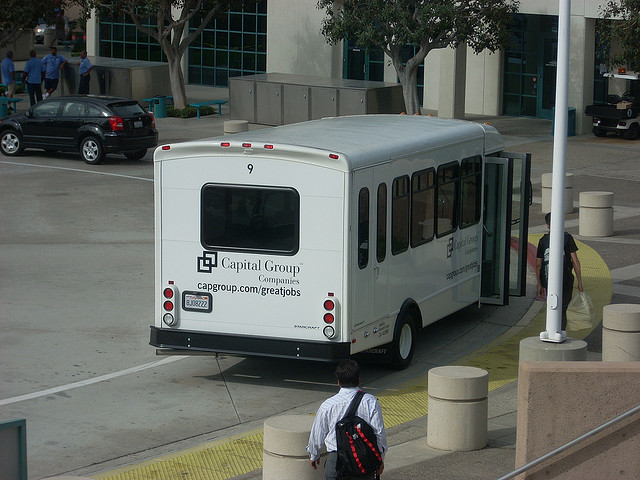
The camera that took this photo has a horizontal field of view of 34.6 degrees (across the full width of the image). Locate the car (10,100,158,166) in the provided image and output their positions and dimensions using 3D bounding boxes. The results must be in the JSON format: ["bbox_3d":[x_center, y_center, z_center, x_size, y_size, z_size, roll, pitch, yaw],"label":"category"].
[{"bbox_3d":[-6.467,-3.065,27.988,3.693,1.303,1.724,10,14,27],"label":"car"}]

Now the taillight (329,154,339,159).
[{"bbox_3d":[0.180,-1.036,12.845,0.060,0.060,0.015,4,11,13],"label":"taillight"}]

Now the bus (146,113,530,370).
[{"bbox_3d":[0.570,-0.024,15.079,3.303,2.792,5.385,7,14,32],"label":"bus"}]

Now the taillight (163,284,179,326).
[{"bbox_3d":[-1.964,0.851,13.613,0.227,0.522,0.062,1,8,23],"label":"taillight"}]

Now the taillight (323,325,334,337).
[{"bbox_3d":[0.110,1.169,13.055,0.116,0.121,0.041,-4,0,27],"label":"taillight"}]

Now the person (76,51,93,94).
[{"bbox_3d":[-8.622,-6.128,37.729,0.517,1.568,2.857,-4,8,-13],"label":"person"}]

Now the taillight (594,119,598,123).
[{"bbox_3d":[8.993,-3.862,33.507,0.067,0.124,0.137,2,11,28],"label":"taillight"}]

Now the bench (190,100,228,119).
[{"bbox_3d":[-4.120,-4.861,38.414,1.080,0.583,3.854,-2,8,-1],"label":"bench"}]

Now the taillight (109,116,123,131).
[{"bbox_3d":[-5.278,-3.019,26.819,0.288,0.304,0.316,-4,1,21],"label":"taillight"}]

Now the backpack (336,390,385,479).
[{"bbox_3d":[0.369,1.967,9.642,0.434,0.611,0.198,-2,8,1],"label":"backpack"}]

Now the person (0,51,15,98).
[{"bbox_3d":[-11.102,-5.852,36.701,0.413,1.576,2.534,-4,8,-16],"label":"person"}]
